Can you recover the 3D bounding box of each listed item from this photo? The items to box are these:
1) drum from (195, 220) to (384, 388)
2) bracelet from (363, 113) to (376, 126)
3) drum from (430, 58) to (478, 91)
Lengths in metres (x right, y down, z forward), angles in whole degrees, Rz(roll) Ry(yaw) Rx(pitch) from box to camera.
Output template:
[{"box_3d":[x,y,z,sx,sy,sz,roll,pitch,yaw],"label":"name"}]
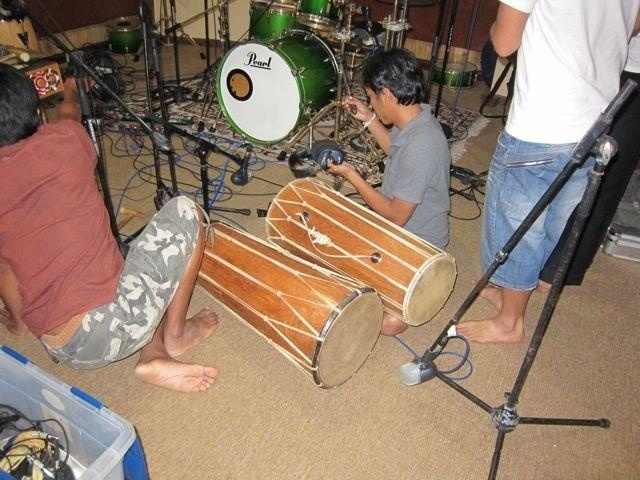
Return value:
[{"box_3d":[-0.155,0.291,2.342,0.801,0.421,0.364,24,38,28],"label":"drum"},{"box_3d":[0.265,-0.690,3.015,0.068,0.082,0.076,18,17,31],"label":"bracelet"},{"box_3d":[1.322,-1.606,5.097,0.502,0.204,0.540,1,35,-1],"label":"drum"}]
